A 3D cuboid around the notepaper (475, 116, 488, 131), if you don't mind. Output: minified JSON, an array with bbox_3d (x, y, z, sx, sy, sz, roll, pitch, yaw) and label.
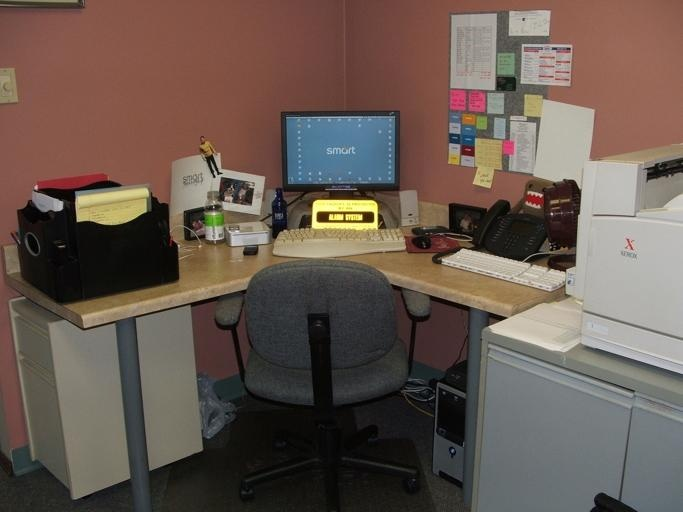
[{"bbox_3d":[0.674,-0.633,2.661,0.008,0.065,0.053,-18,26,-42],"label":"notepaper"}]

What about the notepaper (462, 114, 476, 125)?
[{"bbox_3d":[0.621,-0.658,2.702,0.073,0.053,0.013,12,23,32],"label":"notepaper"}]

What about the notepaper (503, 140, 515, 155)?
[{"bbox_3d":[0.768,-0.502,2.576,0.057,0.060,0.014,7,7,41],"label":"notepaper"}]

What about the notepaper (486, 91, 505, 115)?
[{"bbox_3d":[0.724,-0.715,2.598,0.082,0.110,0.012,19,31,38],"label":"notepaper"}]

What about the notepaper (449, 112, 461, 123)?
[{"bbox_3d":[0.564,-0.681,2.748,0.067,0.050,0.009,16,25,39],"label":"notepaper"}]

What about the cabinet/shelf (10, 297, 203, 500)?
[{"bbox_3d":[-1.094,0.401,2.826,0.887,1.236,0.603,-12,21,-36],"label":"cabinet/shelf"}]

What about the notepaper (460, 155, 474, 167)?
[{"bbox_3d":[0.624,-0.465,2.741,0.081,0.063,0.046,16,28,34],"label":"notepaper"}]

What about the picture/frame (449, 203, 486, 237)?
[{"bbox_3d":[0.600,-0.165,2.647,0.124,0.116,0.042,18,29,36],"label":"picture/frame"}]

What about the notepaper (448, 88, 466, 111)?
[{"bbox_3d":[0.571,-0.765,2.722,0.085,0.105,0.007,22,33,38],"label":"notepaper"}]

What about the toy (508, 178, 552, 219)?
[{"bbox_3d":[0.850,-0.282,2.545,0.168,0.222,0.148,-14,22,-38],"label":"toy"}]

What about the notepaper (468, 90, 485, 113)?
[{"bbox_3d":[0.650,-0.737,2.657,0.089,0.107,0.014,17,31,39],"label":"notepaper"}]

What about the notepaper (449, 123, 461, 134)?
[{"bbox_3d":[0.565,-0.628,2.756,0.067,0.050,0.008,18,27,41],"label":"notepaper"}]

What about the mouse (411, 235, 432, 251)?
[{"bbox_3d":[0.363,-0.056,2.501,0.071,0.036,0.060,1,10,-19],"label":"mouse"}]

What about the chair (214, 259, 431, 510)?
[{"bbox_3d":[-0.039,0.317,2.405,0.894,1.246,0.880,-1,26,-4],"label":"chair"}]

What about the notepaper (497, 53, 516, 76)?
[{"bbox_3d":[0.753,-0.870,2.527,0.086,0.110,0.012,17,28,38],"label":"notepaper"}]

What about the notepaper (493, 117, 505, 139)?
[{"bbox_3d":[0.745,-0.596,2.613,0.015,0.098,0.069,-15,24,-35],"label":"notepaper"}]

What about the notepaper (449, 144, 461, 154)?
[{"bbox_3d":[0.566,-0.528,2.777,0.013,0.056,0.076,-16,25,-36],"label":"notepaper"}]
